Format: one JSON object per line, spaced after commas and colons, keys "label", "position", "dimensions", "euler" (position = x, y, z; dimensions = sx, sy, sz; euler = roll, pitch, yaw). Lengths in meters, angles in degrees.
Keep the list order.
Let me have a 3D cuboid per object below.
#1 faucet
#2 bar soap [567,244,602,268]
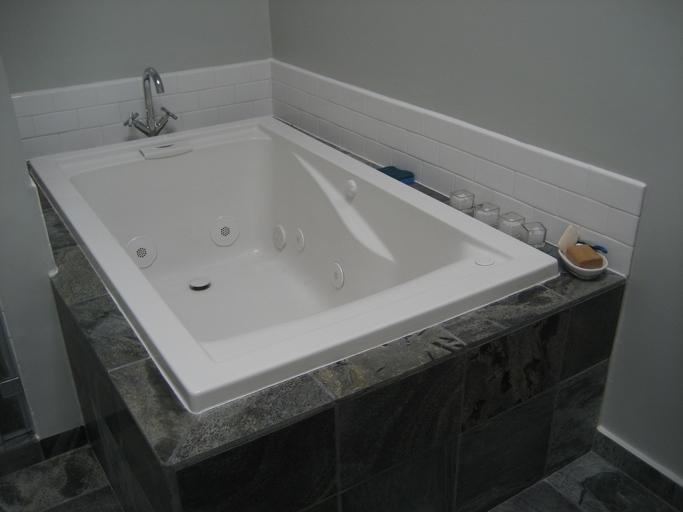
{"label": "faucet", "position": [-0.905, -0.684, 2.457], "dimensions": [0.252, 0.413, 0.225], "euler": [-12, 34, -26]}
{"label": "bar soap", "position": [0.761, 0.000, 1.596], "dimensions": [0.090, 0.040, 0.093], "euler": [-5, 29, -1]}
